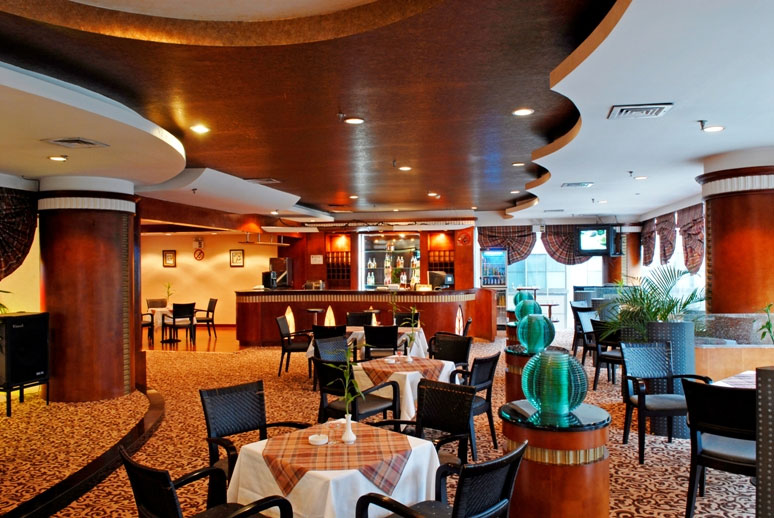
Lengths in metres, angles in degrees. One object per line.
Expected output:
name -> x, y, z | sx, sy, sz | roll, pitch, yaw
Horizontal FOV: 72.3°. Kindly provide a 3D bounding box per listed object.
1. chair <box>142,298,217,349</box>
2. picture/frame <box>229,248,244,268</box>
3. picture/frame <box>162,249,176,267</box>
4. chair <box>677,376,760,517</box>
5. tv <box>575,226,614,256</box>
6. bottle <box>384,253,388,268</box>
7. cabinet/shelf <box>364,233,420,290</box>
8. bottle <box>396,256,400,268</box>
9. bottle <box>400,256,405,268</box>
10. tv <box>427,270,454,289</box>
chair -> -5.380, 1.610, 13.902 | 1.188, 1.133, 1.985 | 3, -1, -44
picture/frame -> -4.441, -0.065, 15.737 | 0.679, 0.665, 0.052 | 0, -2, -4
picture/frame -> -6.526, -0.038, 15.947 | 0.633, 0.615, 0.048 | 0, 0, -3
chair -> 2.959, 1.707, 4.707 | 0.596, 1.278, 0.420 | -5, -3, 31
tv -> 5.523, -0.488, 14.058 | 1.143, 0.934, 0.766 | 0, 0, 16
bottle -> 0.001, 0.024, 15.990 | 0.146, 0.427, 0.255 | -3, -3, -2
cabinet/shelf -> 0.214, 0.014, 15.817 | 1.890, 1.503, 0.571 | -1, -8, 9
bottle -> 0.391, 0.091, 15.952 | 0.175, 0.330, 0.150 | -3, -3, 12
bottle -> 0.468, 0.069, 15.947 | 0.130, 0.373, 0.123 | -3, -3, 0
tv -> 1.597, 0.558, 13.910 | 0.721, 0.429, 0.917 | 7, -4, -15
